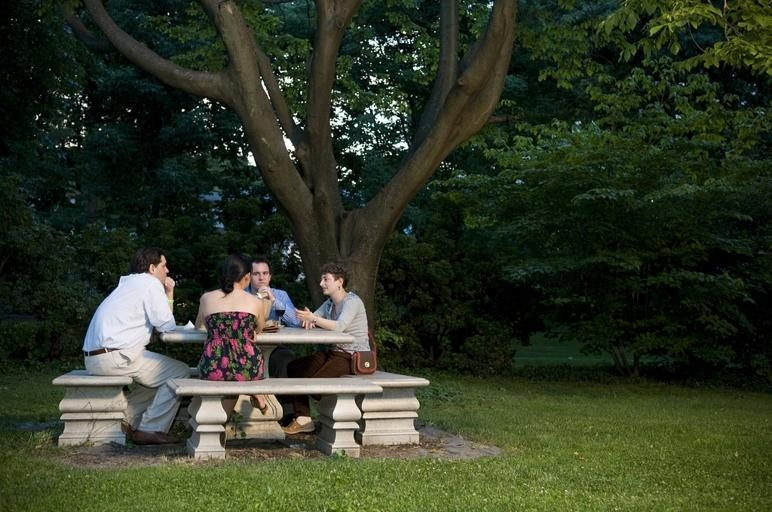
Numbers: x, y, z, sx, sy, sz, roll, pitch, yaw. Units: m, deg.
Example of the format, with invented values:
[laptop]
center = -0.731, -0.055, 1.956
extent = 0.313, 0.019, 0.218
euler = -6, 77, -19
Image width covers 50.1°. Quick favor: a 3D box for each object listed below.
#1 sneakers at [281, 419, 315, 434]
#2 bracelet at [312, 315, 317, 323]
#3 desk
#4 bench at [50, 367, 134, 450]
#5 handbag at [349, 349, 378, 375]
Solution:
[sneakers]
center = -1.476, 2.865, 13.854
extent = 0.554, 0.240, 0.214
euler = 6, -13, -22
[bracelet]
center = -1.166, 1.047, 13.532
extent = 0.066, 0.096, 0.101
euler = -2, -8, -19
[desk]
center = -1.827, 2.269, 13.801
extent = 2.268, 1.383, 2.230
euler = 1, -3, -5
[bench]
center = -4.600, 2.390, 13.048
extent = 1.163, 0.935, 1.130
euler = 1, -2, 1
[handbag]
center = -0.385, 1.753, 13.570
extent = 0.626, 0.532, 0.331
euler = 2, -9, -21
